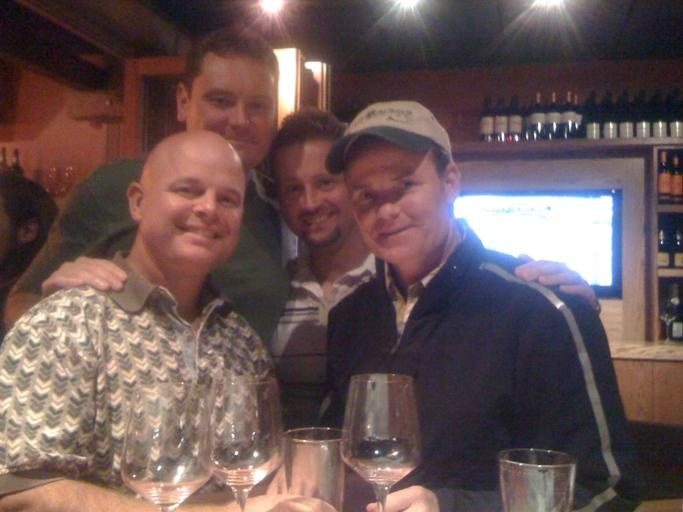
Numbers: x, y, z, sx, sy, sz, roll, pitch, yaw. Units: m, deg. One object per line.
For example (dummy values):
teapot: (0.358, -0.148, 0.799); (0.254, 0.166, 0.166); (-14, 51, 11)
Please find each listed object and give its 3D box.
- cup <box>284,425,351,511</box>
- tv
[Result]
cup: (-0.051, 0.418, 1.423); (0.141, 0.237, 0.146); (0, -5, 0)
tv: (0.509, -0.031, 1.802); (0.449, 0.257, 0.316); (-1, 0, 14)
